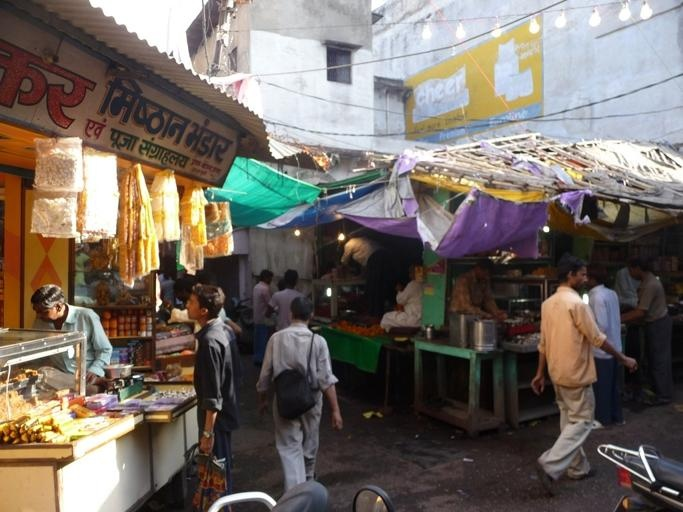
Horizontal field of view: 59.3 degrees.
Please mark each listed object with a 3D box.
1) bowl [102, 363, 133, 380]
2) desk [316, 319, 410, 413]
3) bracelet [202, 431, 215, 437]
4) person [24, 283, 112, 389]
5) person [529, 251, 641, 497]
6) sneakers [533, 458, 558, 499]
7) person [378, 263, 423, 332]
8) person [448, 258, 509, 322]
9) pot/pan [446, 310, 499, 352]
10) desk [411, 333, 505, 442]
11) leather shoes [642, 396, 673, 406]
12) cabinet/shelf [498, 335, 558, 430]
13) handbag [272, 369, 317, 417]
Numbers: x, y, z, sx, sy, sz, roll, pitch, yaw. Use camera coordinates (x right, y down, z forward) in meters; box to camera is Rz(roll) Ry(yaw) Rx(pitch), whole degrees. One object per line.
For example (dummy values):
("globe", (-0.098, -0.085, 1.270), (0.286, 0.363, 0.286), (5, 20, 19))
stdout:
("bowl", (-2.200, 1.151, 5.924), (0.258, 0.140, 0.178), (-5, 6, -35))
("desk", (0.323, 1.670, 9.716), (1.628, 0.823, 1.092), (11, 4, 31))
("bracelet", (-1.199, 1.605, 5.368), (0.074, 0.051, 0.089), (1, -6, 1))
("person", (-2.731, 0.832, 5.988), (0.797, 1.022, 0.673), (-2, 5, -18))
("person", (2.455, 1.225, 6.333), (0.872, 2.394, 0.944), (1, 5, 24))
("sneakers", (2.079, 2.324, 6.214), (0.193, 0.458, 0.146), (-14, -6, -45))
("person", (1.003, 0.693, 9.560), (0.740, 1.036, 0.534), (0, 5, 21))
("person", (1.942, 0.494, 8.467), (0.618, 0.937, 0.878), (-2, 13, -33))
("pot/pan", (1.693, 1.018, 7.760), (0.291, 0.474, 0.745), (0, 0, -34))
("desk", (1.578, 1.760, 8.317), (0.530, 1.090, 1.410), (0, 0, -26))
("leather shoes", (4.656, 2.139, 8.802), (0.431, 0.102, 0.168), (-2, 5, -1))
("cabinet/shelf", (2.668, 1.723, 8.181), (1.129, 1.064, 0.389), (4, -3, -37))
("handbag", (-0.479, 1.330, 5.724), (0.375, 0.433, 0.230), (-8, 9, -3))
